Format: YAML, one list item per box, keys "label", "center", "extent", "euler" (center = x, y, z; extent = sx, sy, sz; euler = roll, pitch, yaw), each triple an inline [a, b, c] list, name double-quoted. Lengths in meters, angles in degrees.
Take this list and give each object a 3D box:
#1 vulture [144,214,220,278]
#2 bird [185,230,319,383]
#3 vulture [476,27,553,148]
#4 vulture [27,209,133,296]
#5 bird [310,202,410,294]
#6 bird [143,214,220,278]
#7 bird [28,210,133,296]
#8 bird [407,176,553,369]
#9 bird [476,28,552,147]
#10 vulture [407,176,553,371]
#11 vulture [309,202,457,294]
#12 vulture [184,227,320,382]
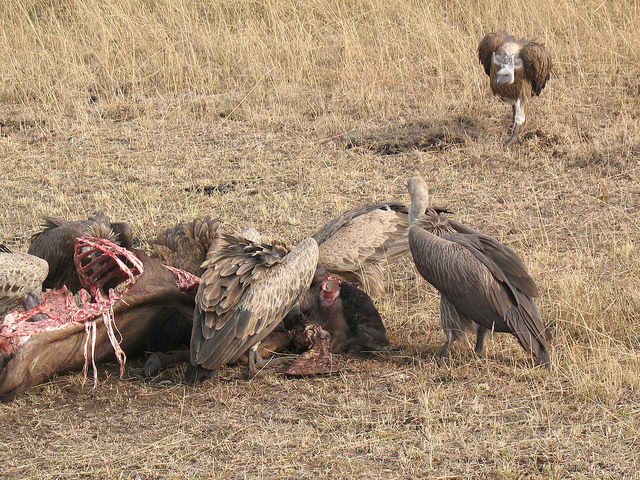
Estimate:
- label: "vulture"
  center: [-1.177, 0.047, 9.371]
  extent: [0.640, 0.509, 0.326]
  euler: [-1, -20, 14]
- label: "bird"
  center: [-0.560, 0.491, 8.685]
  extent: [1.127, 1.238, 0.843]
  euler: [-12, 21, -39]
- label: "vulture"
  center: [2.248, -1.758, 12.111]
  extent: [0.842, 1.294, 0.758]
  euler: [10, 23, 32]
- label: "vulture"
  center: [-2.122, 0.147, 9.245]
  extent: [0.884, 0.724, 0.662]
  euler: [-2, 12, 3]
- label: "bird"
  center: [0.322, -0.030, 9.812]
  extent: [0.703, 0.876, 0.933]
  euler: [-18, 23, -29]
- label: "bird"
  center: [-1.176, 0.033, 9.448]
  extent: [0.489, 0.582, 0.571]
  euler: [-16, 19, -34]
- label: "bird"
  center: [-2.101, -0.014, 9.410]
  extent: [0.822, 0.876, 0.668]
  euler: [10, 19, 32]
- label: "bird"
  center: [1.313, 0.243, 8.914]
  extent: [1.588, 1.523, 0.796]
  euler: [7, 11, 37]
- label: "bird"
  center: [2.235, -1.763, 12.028]
  extent: [0.610, 1.289, 0.701]
  euler: [-6, 12, -15]
- label: "vulture"
  center: [1.423, 0.252, 8.871]
  extent: [0.889, 1.490, 0.603]
  euler: [8, 14, 39]
- label: "vulture"
  center: [0.535, 0.035, 9.702]
  extent: [0.966, 0.929, 1.120]
  euler: [-17, 27, -38]
- label: "vulture"
  center: [-0.595, 0.494, 8.855]
  extent: [1.284, 1.087, 0.868]
  euler: [-17, 26, -36]
